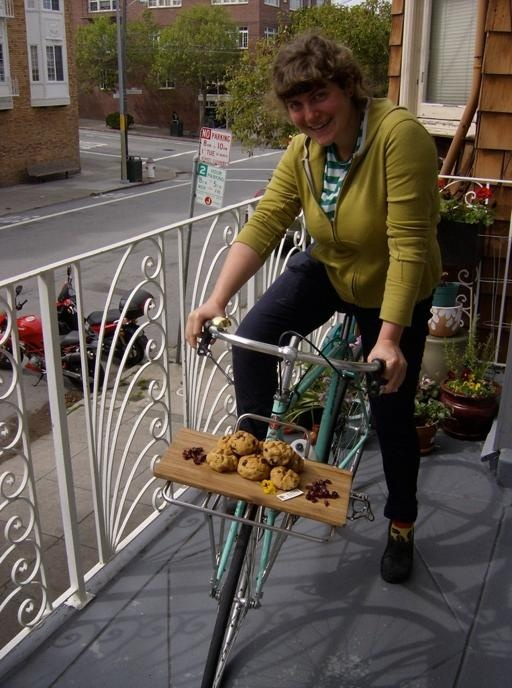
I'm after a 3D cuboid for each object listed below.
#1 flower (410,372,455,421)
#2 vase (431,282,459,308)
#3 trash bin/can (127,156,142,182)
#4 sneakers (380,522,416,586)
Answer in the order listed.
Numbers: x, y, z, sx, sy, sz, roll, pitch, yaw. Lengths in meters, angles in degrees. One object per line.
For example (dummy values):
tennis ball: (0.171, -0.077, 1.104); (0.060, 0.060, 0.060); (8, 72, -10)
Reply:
flower: (1.076, 0.354, 3.358); (0.241, 0.285, 0.259); (-9, 23, 1)
vase: (1.351, -0.338, 3.856); (0.213, 0.165, 0.227); (0, 15, 7)
trash bin/can: (-5.773, -8.279, 25.805); (0.691, 1.189, 0.965); (-3, 13, -13)
sneakers: (0.579, 0.848, 2.190); (0.100, 0.109, 0.282); (3, 26, 18)
